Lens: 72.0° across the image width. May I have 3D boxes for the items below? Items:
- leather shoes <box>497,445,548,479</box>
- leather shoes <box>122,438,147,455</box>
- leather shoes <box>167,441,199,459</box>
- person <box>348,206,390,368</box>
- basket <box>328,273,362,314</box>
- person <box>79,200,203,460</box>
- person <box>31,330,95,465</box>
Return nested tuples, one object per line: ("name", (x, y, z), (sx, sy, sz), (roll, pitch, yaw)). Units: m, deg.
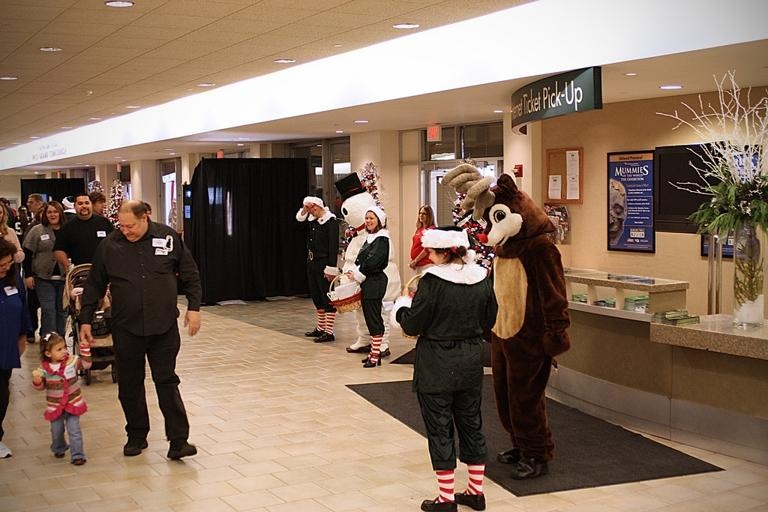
("leather shoes", (1.165, 1.760, 4.427), (0.456, 0.170, 0.137), (15, -18, -33))
("leather shoes", (-2.274, 1.753, 4.850), (0.096, 0.103, 0.254), (-1, -9, 2))
("leather shoes", (-1.767, 1.733, 4.745), (0.276, 0.183, 0.135), (-6, -8, 15))
("person", (-0.192, 0.440, 7.535), (0.619, 2.274, 0.441), (-3, 4, -13))
("basket", (-0.547, 0.509, 7.705), (0.432, 0.522, 0.856), (-2, 4, -4))
("person", (-2.156, 0.667, 4.774), (1.008, 2.331, 0.403), (-2, 4, 0))
("person", (-2.837, 1.243, 4.657), (0.358, 1.154, 0.372), (-4, 4, -29))
